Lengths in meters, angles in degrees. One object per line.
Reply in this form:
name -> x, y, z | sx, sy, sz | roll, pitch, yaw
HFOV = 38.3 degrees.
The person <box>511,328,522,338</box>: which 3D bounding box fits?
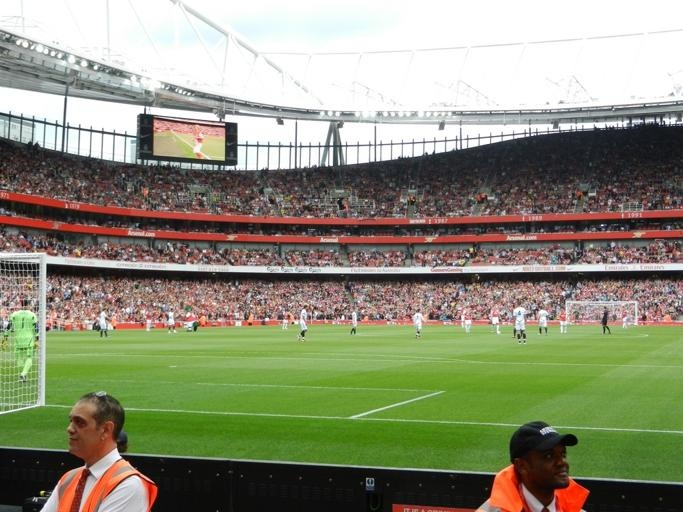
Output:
person -> 10.758, 4.746, 60.226 | 0.350, 0.567, 1.091 | -20, -2, 17
